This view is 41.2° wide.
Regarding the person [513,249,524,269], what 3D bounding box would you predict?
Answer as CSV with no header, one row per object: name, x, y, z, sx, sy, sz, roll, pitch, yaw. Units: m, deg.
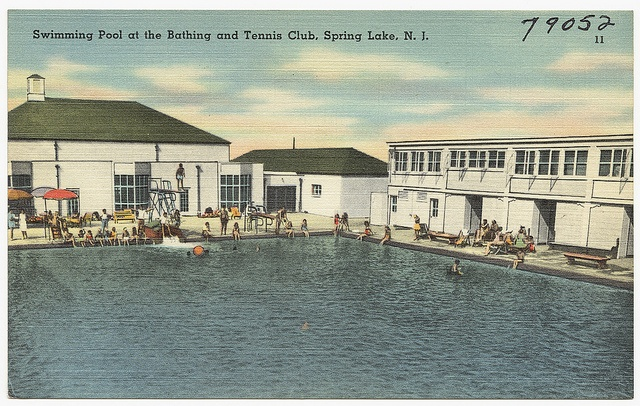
person,12.269,3.472,52.879,0.619,1.112,1.004,0,3,16

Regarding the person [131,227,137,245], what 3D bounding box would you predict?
person,-12.817,2.254,58.671,0.340,1.133,0.865,-2,3,-12

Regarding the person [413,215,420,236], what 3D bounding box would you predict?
person,6.900,1.726,60.669,0.412,1.685,0.932,-1,3,7

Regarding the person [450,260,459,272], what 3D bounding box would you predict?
person,8.185,3.802,52.083,0.574,0.830,1.773,0,2,9

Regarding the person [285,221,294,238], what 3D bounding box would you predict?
person,-2.347,1.927,63.287,0.650,1.169,1.393,-1,2,-2

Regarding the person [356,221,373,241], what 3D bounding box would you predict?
person,3.156,2.029,62.032,1.072,1.336,1.138,-1,3,-7

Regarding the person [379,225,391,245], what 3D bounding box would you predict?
person,4.564,2.205,60.379,0.750,1.332,2.026,-1,2,5

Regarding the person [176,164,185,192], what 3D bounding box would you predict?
person,-11.856,-2.247,71.664,0.741,2.219,1.309,-1,3,-9

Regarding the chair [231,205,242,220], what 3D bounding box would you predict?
chair,-7.251,0.825,72.086,0.885,0.942,2.380,-1,2,-6
